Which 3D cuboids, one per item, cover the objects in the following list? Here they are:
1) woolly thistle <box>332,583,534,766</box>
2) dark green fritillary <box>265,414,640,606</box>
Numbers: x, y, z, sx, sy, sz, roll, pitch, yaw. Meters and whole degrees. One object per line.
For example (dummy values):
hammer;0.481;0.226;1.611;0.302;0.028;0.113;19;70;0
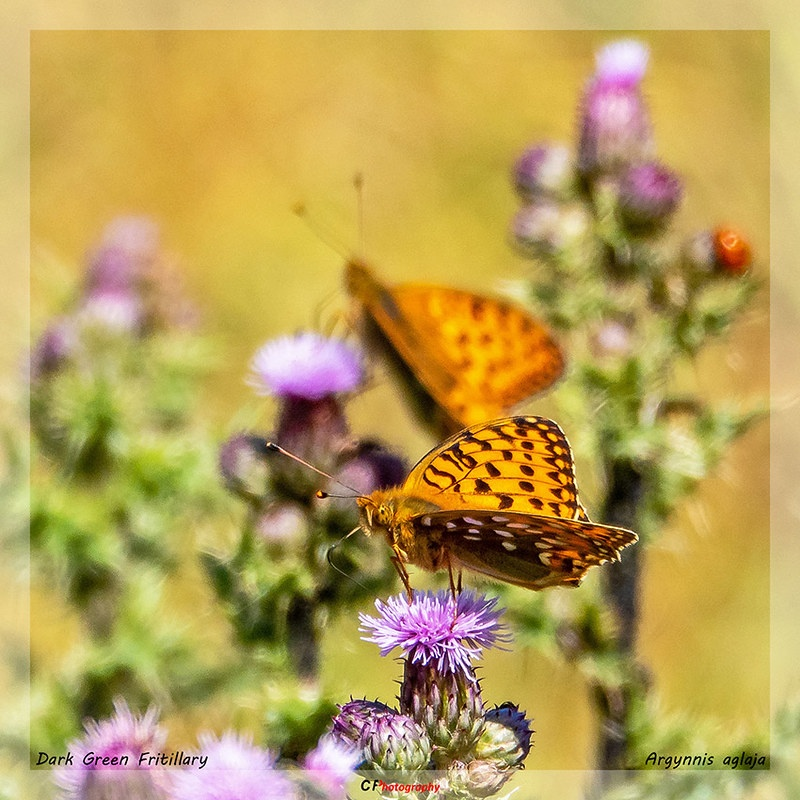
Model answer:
woolly thistle;0.125;0.781;4.118;0.320;0.693;0.640;2;7;15
dark green fritillary;0.245;0.323;4.318;0.983;0.504;0.441;7;15;25
